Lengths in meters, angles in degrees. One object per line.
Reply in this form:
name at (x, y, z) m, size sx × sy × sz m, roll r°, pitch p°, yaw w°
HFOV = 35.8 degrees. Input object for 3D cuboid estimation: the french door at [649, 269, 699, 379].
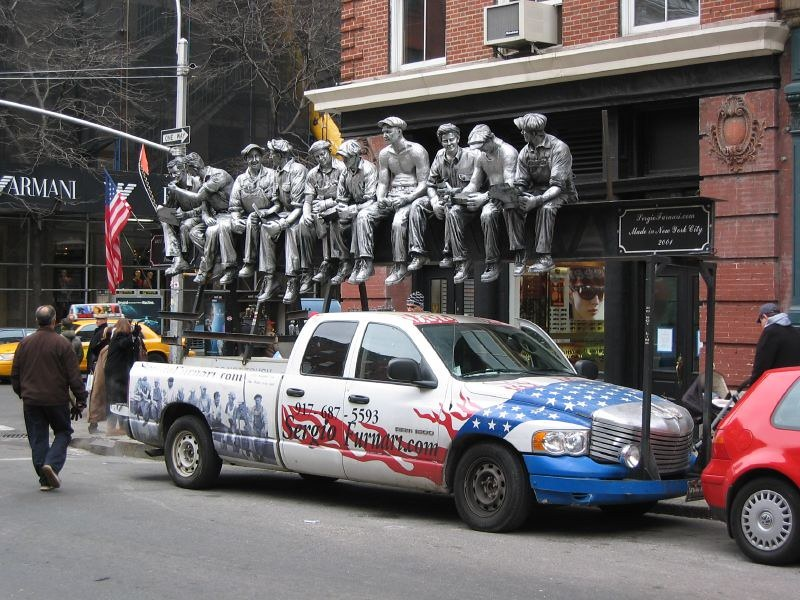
french door at (4.537, 0.486, 20.209) m, size 0.855 × 2.472 × 0.144 m, roll -1°, pitch -43°, yaw 20°

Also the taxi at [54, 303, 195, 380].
taxi at (-7.389, 1.163, 33.500) m, size 2.935 × 1.051 × 1.331 m, roll -2°, pitch 13°, yaw 7°

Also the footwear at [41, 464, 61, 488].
footwear at (-4.419, 2.270, 15.741) m, size 0.141 × 0.386 × 0.167 m, roll -12°, pitch 34°, yaw -4°

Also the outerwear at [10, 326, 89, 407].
outerwear at (-4.582, 0.859, 16.110) m, size 0.940 × 0.997 × 0.524 m, roll 1°, pitch -3°, yaw 2°

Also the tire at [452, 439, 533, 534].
tire at (1.058, 2.082, 13.940) m, size 0.956 × 1.103 × 0.373 m, roll 4°, pitch -1°, yaw 43°

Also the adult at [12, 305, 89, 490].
adult at (-4.594, 1.284, 16.134) m, size 0.857 × 2.382 × 0.799 m, roll 0°, pitch -1°, yaw 19°

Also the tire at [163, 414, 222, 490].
tire at (-2.684, 1.980, 16.212) m, size 0.853 × 1.016 × 0.337 m, roll 7°, pitch 1°, yaw 40°

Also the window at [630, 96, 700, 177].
window at (4.080, -2.642, 19.979) m, size 1.090 × 1.116 × 0.270 m, roll -1°, pitch -2°, yaw 41°

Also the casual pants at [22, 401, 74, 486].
casual pants at (-4.509, 1.879, 15.940) m, size 0.577 × 1.086 × 0.673 m, roll -1°, pitch 5°, yaw -17°

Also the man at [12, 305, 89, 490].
man at (-4.581, 1.279, 16.129) m, size 0.856 × 2.396 × 0.823 m, roll -2°, pitch -4°, yaw 16°
